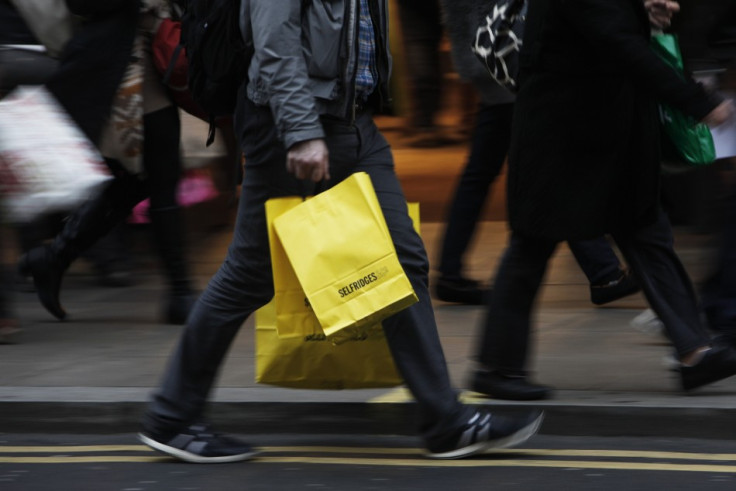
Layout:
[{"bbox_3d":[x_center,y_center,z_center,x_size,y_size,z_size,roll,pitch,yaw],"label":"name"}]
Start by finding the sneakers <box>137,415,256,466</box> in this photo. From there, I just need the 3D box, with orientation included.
[{"bbox_3d":[-0.781,0.898,3.466,0.588,0.187,0.182,9,15,-17],"label":"sneakers"}]

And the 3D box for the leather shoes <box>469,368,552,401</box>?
[{"bbox_3d":[0.722,0.724,3.965,0.487,0.234,0.145,0,5,3],"label":"leather shoes"}]

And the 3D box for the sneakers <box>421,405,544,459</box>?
[{"bbox_3d":[0.491,0.817,3.394,0.638,0.198,0.201,-12,9,-1],"label":"sneakers"}]

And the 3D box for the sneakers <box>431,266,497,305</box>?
[{"bbox_3d":[0.682,0.328,5.377,0.419,0.210,0.187,0,49,-6],"label":"sneakers"}]

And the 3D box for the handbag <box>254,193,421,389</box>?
[{"bbox_3d":[-0.144,0.166,3.220,1.177,0.806,0.382,-2,12,-2],"label":"handbag"}]

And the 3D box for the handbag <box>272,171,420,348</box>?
[{"bbox_3d":[-0.105,0.047,3.163,0.794,0.609,0.271,-23,-5,-1],"label":"handbag"}]
